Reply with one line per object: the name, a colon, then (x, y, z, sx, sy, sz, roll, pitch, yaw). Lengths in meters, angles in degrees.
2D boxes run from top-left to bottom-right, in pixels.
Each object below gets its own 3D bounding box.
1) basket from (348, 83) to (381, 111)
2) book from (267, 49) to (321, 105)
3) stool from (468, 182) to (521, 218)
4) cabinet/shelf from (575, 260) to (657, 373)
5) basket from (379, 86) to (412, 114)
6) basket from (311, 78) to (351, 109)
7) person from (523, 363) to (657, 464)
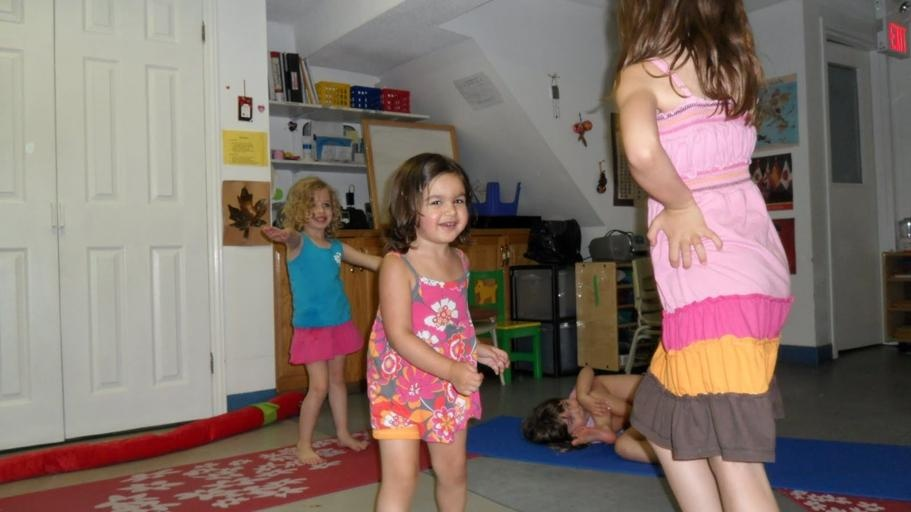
basket: (-0.929, -1.611, 6.273, 0.329, 0.195, 0.133, -3, 2, -15)
book: (-1.627, -1.716, 6.187, 0.485, 0.594, 0.634, -5, 9, -15)
stool: (0.444, -0.560, 6.676, 0.488, 0.283, 0.476, 0, 3, -2)
cabinet/shelf: (1.584, 0.593, 6.221, 0.445, 1.028, 1.125, -7, -8, 29)
basket: (-0.638, -1.623, 6.435, 0.285, 0.199, 0.276, 1, 7, -13)
basket: (-1.257, -1.589, 6.111, 0.311, 0.222, 0.304, 1, 0, 1)
person: (1.031, 1.057, 4.440, 1.259, 0.519, 0.385, 2, -20, -43)
